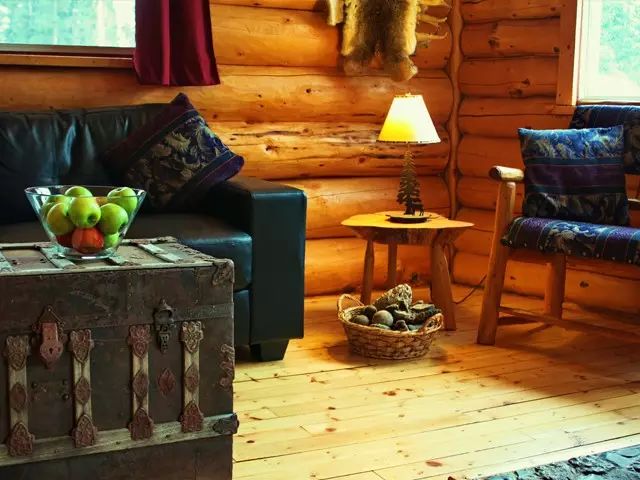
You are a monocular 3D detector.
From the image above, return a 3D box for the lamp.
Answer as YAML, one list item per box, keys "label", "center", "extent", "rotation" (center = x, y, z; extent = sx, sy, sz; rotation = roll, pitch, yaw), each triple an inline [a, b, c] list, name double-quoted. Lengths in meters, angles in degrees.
- label: "lamp"
  center: [0.527, -0.508, 3.163]
  extent: [0.333, 0.726, 0.744]
  rotation: [4, 13, 11]

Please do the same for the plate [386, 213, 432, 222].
- label: "plate"
  center: [0.486, -0.126, 2.974]
  extent: [0.238, 0.039, 0.259]
  rotation: [3, 11, 10]

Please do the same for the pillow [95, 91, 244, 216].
- label: "pillow"
  center: [-0.721, -0.412, 2.609]
  extent: [0.604, 0.588, 0.175]
  rotation: [-42, 2, -17]

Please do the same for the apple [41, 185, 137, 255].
- label: "apple"
  center: [-0.585, -0.047, 1.448]
  extent: [0.242, 0.114, 0.216]
  rotation: [1, -5, 20]

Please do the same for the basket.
- label: "basket"
  center: [0.371, 0.397, 2.595]
  extent: [0.425, 0.140, 0.415]
  rotation: [4, 4, 37]

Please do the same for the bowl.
- label: "bowl"
  center: [-0.623, -0.050, 1.450]
  extent: [0.302, 0.118, 0.248]
  rotation: [1, 1, 4]

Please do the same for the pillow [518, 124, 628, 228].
- label: "pillow"
  center: [1.270, -0.307, 2.654]
  extent: [0.745, 0.518, 0.227]
  rotation: [3, -9, 5]
